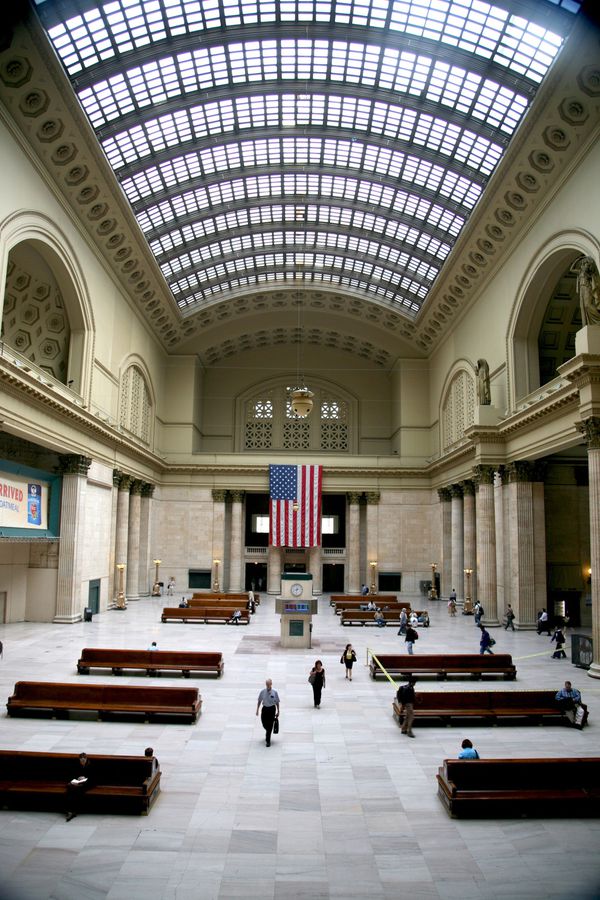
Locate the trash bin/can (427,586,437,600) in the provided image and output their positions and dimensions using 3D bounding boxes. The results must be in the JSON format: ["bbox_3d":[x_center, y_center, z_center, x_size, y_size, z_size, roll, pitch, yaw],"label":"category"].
[{"bbox_3d":[7.966,8.552,36.394,0.606,0.843,0.608,0,-7,-1],"label":"trash bin/can"}]

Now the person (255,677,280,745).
[{"bbox_3d":[-0.618,4.160,9.899,0.355,0.957,1.242,2,-9,-5],"label":"person"}]

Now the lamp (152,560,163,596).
[{"bbox_3d":[-9.240,7.732,37.269,0.720,2.071,2.285,3,-9,-12],"label":"lamp"}]

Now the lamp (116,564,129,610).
[{"bbox_3d":[-9.107,6.504,29.272,0.567,2.074,2.496,3,-10,-17],"label":"lamp"}]
